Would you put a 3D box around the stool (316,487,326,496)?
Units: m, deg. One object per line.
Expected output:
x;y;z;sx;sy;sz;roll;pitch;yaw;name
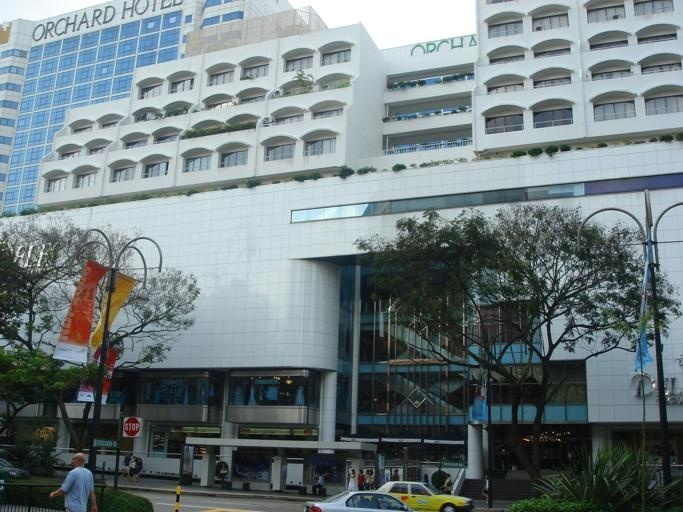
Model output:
-1.354;16.639;51.189;0.659;0.511;0.628;-1;-10;28;stool

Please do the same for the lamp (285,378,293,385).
-4.774;11.348;65.367;0.751;0.538;0.457;4;3;8;lamp
